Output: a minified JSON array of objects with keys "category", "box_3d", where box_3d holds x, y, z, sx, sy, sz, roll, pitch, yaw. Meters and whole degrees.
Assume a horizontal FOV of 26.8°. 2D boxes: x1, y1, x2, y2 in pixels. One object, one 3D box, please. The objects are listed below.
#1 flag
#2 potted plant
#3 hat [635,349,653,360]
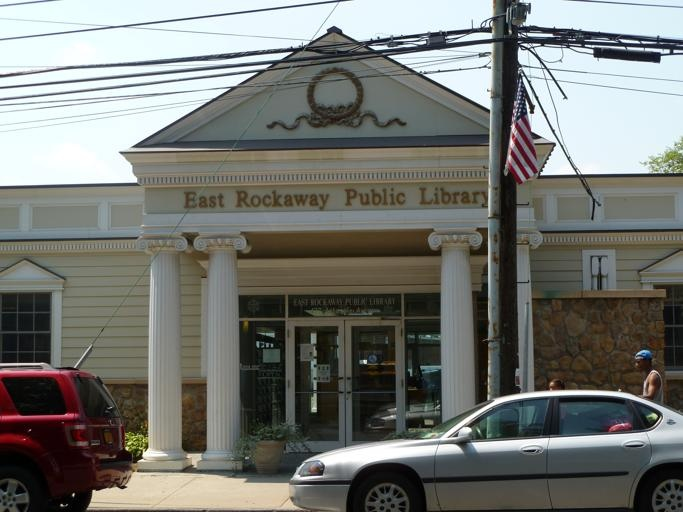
[{"category":"flag","box_3d":[3.111,-2.248,25.201,0.557,2.002,0.427,-8,-14,21]},{"category":"potted plant","box_3d":[-1.391,3.728,27.852,1.184,0.571,1.009,-2,-6,17]},{"category":"hat","box_3d":[5.388,1.768,25.395,0.397,0.175,0.260,2,1,11]}]
